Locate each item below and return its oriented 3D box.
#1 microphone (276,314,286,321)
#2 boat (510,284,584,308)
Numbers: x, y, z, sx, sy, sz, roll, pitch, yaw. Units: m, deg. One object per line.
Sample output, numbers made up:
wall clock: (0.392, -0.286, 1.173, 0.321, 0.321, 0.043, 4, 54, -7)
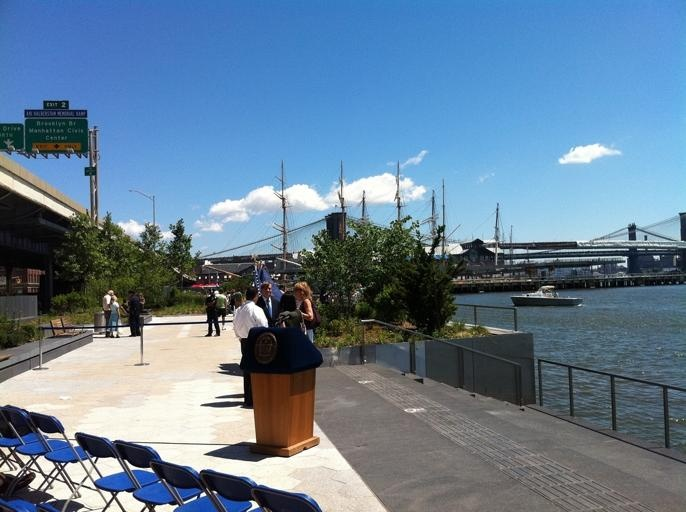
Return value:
microphone: (-1.031, 1.021, 9.805, 0.173, 0.144, 0.096, 1, 0, 31)
boat: (31.610, 6.224, 93.517, 7.759, 2.874, 3.877, -3, 1, 15)
